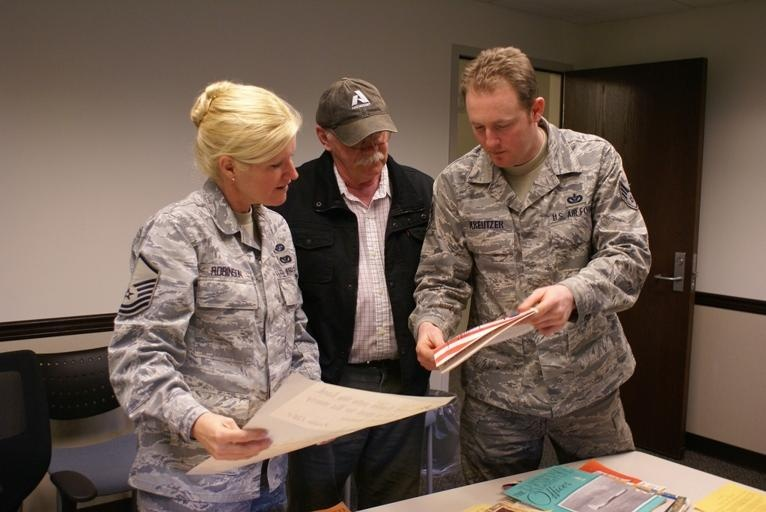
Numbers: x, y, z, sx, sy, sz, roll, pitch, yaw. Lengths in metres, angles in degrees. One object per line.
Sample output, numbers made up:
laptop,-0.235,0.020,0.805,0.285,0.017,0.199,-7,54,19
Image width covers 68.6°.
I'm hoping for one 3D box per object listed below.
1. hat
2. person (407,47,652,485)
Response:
hat,-0.132,-0.662,2.544,0.271,0.188,0.375,-22,38,-33
person,0.558,0.084,2.239,0.915,1.796,0.631,3,12,21
